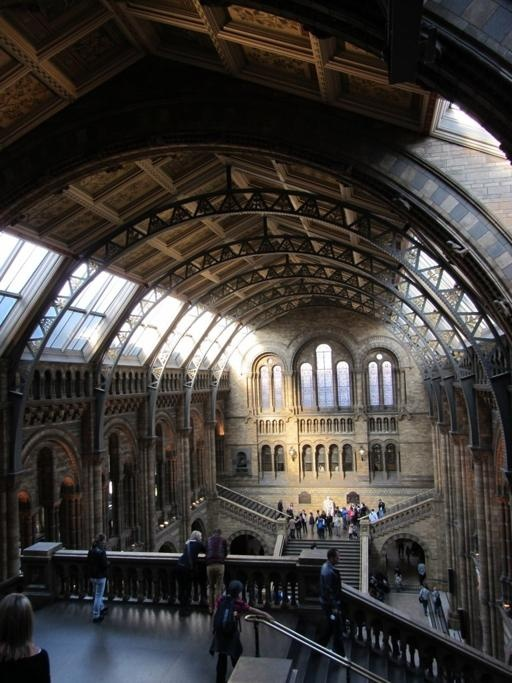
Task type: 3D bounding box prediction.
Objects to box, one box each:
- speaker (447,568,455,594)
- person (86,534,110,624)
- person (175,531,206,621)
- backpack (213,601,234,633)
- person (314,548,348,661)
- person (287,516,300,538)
[{"bbox_3d":[9.754,11.888,27.595,0.359,1.258,0.778,1,-2,20],"label":"speaker"},{"bbox_3d":[-2.664,3.887,9.369,0.328,1.263,1.096,2,-2,-16],"label":"person"},{"bbox_3d":[-1.120,3.841,9.655,0.452,1.268,1.201,1,-2,-5],"label":"person"},{"bbox_3d":[-0.370,3.150,6.377,0.285,0.380,0.123,0,-2,33],"label":"backpack"},{"bbox_3d":[1.091,3.683,7.975,0.374,1.604,1.027,1,-2,8],"label":"person"},{"bbox_3d":[2.548,12.147,36.692,0.811,1.288,1.520,1,-2,3],"label":"person"}]
